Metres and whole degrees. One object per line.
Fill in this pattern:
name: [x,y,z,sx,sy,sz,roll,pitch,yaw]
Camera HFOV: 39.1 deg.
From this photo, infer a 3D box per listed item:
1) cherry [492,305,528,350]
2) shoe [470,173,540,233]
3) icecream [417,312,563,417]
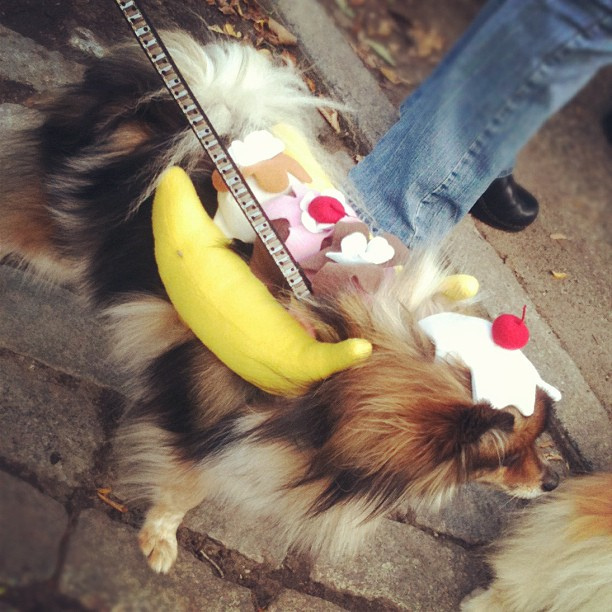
cherry: [0.453,0.048,1.957,0.111,0.096,0.077,-5,72,-7]
shoe: [0.606,-0.309,2.633,0.146,0.121,0.168,34,56,24]
icecream: [0.400,0.123,1.932,0.312,0.180,0.124,47,29,18]
